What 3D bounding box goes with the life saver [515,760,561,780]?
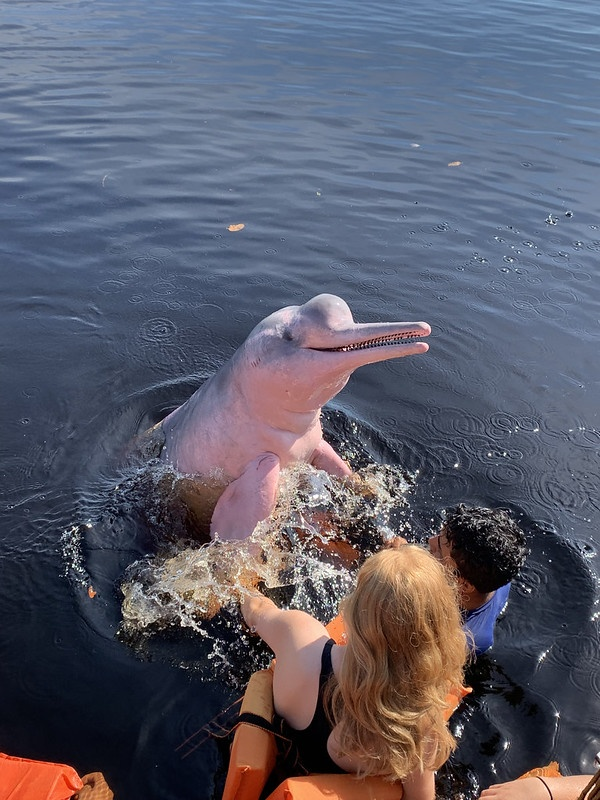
[{"bbox_3d":[1.180,1.845,4.168,0.169,0.039,0.165,-12,-4,25],"label":"life saver"}]
